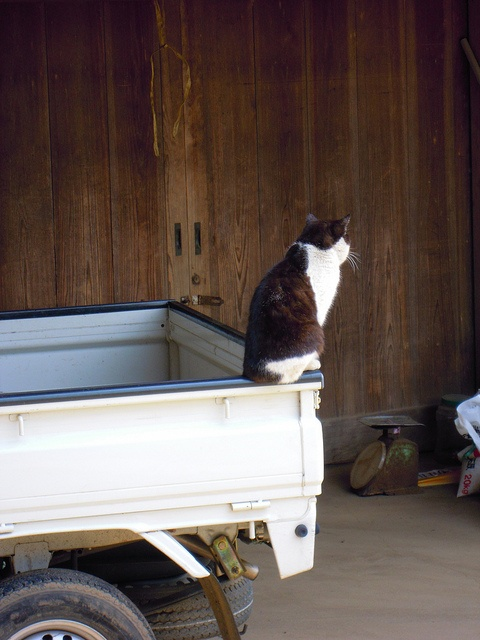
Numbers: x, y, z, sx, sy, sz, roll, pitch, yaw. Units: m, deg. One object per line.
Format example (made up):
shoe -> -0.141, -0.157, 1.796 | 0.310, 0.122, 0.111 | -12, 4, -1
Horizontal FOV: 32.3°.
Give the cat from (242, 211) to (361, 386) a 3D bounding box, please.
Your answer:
cat -> 0.200, -0.058, 2.975 | 0.279, 0.822, 0.668 | -1, 1, 11
